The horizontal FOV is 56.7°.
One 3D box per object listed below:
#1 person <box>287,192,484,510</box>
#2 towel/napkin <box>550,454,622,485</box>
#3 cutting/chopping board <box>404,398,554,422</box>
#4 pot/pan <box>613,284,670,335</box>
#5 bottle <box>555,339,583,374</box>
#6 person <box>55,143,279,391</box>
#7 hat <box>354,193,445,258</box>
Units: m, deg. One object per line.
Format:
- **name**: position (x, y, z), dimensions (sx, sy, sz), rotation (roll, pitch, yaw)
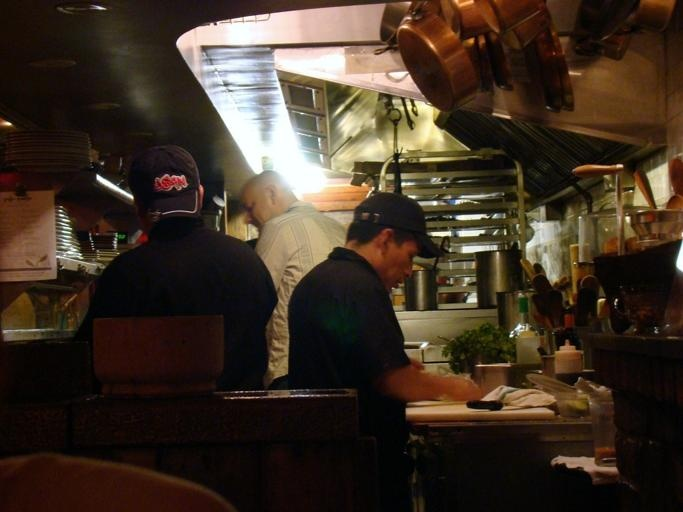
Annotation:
- **person**: position (0.135, 0.317, 2.217), dimensions (0.646, 1.133, 0.445), rotation (-1, -5, -6)
- **towel/napkin**: position (0.726, 0.635, 1.895), dimensions (0.165, 0.059, 0.295), rotation (-3, -5, 10)
- **cutting/chopping board**: position (0.454, 0.522, 2.128), dimensions (0.487, 0.043, 0.259), rotation (-2, -5, -1)
- **pot/pan**: position (0.788, 0.133, 1.681), dimensions (0.125, 0.104, 0.107), rotation (-2, -3, 8)
- **bottle**: position (0.870, 0.400, 2.496), dimensions (0.104, 0.145, 0.103), rotation (0, -3, 0)
- **person**: position (-0.532, 0.033, 2.154), dimensions (0.632, 0.857, 0.366), rotation (-1, -6, -11)
- **hat**: position (0.210, -0.125, 2.392), dimensions (0.309, 0.163, 0.210), rotation (14, -5, -7)
